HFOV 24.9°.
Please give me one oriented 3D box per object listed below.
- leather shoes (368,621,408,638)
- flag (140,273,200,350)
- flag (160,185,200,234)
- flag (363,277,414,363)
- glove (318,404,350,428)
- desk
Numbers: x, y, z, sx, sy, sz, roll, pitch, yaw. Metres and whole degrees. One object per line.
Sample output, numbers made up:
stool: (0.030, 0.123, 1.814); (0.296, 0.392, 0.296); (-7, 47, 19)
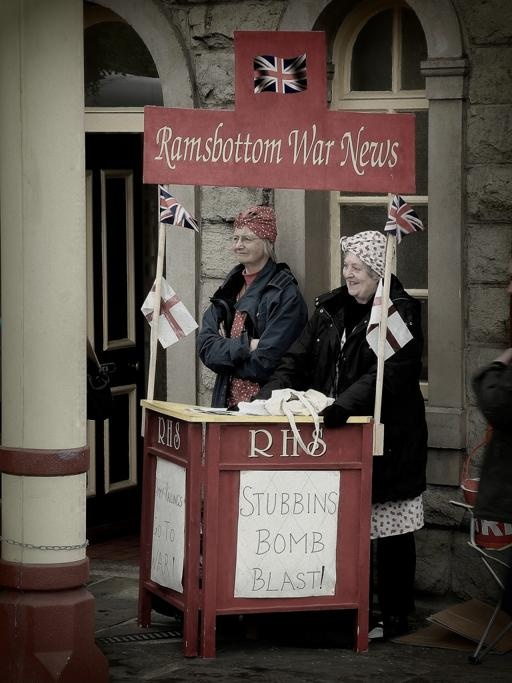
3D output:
leather shoes: (0.580, 1.290, 5.184); (0.116, 0.050, 0.095); (-1, 0, -15)
flag: (-0.426, -0.156, 5.798); (0.193, 0.469, 0.042); (-37, -23, 9)
flag: (-0.360, -0.603, 5.181); (0.185, 0.185, 0.112); (-1, 3, -21)
flag: (0.554, -0.087, 4.932); (0.169, 0.340, 0.237); (1, 3, 23)
glove: (0.315, 0.301, 4.712); (0.090, 0.085, 0.088); (1, -1, -15)
desk: (-0.066, 0.761, 5.101); (0.872, 1.221, 0.938); (1, -4, -19)
